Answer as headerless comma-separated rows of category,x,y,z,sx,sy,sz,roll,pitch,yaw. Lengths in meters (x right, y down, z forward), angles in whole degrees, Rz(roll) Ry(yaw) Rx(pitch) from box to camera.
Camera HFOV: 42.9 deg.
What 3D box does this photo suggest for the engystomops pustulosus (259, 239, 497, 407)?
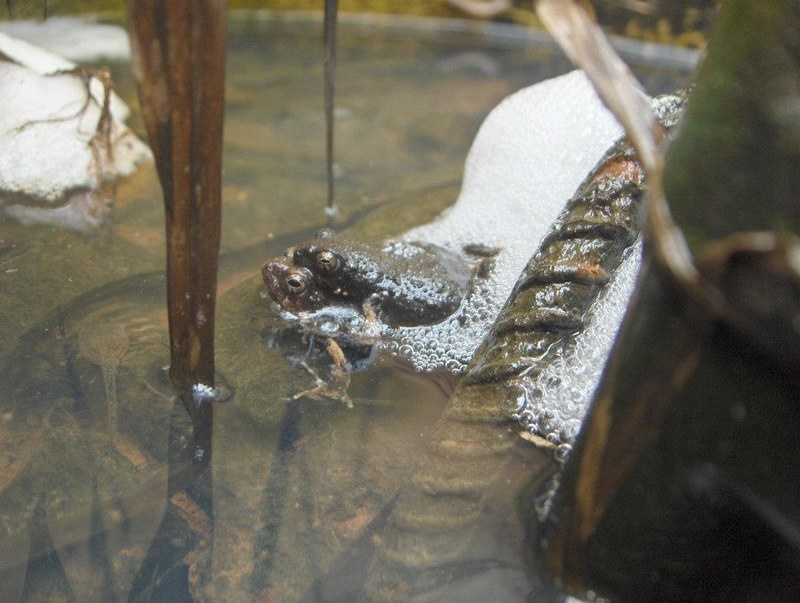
engystomops pustulosus,-0.026,-0.031,1.808,0.452,0.179,0.419,2,48,-13
